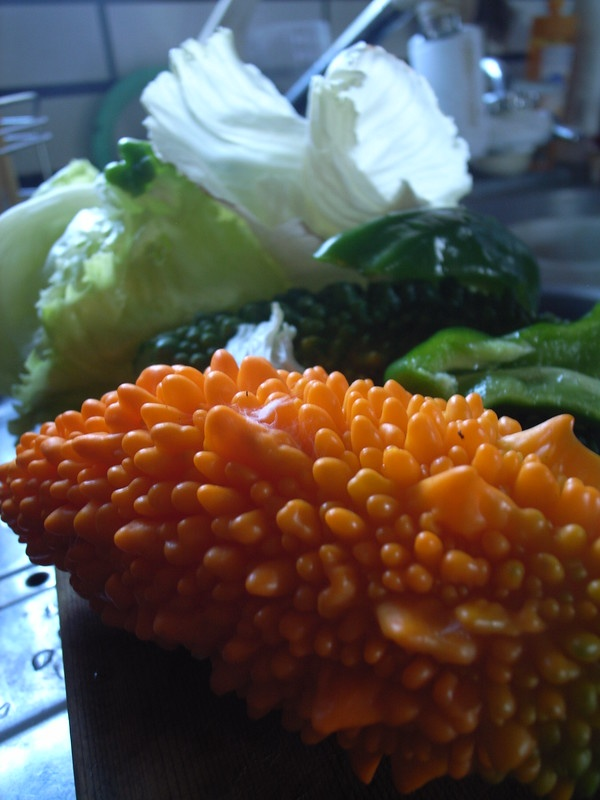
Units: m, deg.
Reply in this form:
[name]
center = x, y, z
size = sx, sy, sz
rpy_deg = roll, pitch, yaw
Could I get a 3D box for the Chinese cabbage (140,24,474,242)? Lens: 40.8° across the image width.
[Chinese cabbage]
center = 0.008, -0.164, 0.555
size = 0.179, 0.069, 0.154
rpy_deg = -17, 26, -11
